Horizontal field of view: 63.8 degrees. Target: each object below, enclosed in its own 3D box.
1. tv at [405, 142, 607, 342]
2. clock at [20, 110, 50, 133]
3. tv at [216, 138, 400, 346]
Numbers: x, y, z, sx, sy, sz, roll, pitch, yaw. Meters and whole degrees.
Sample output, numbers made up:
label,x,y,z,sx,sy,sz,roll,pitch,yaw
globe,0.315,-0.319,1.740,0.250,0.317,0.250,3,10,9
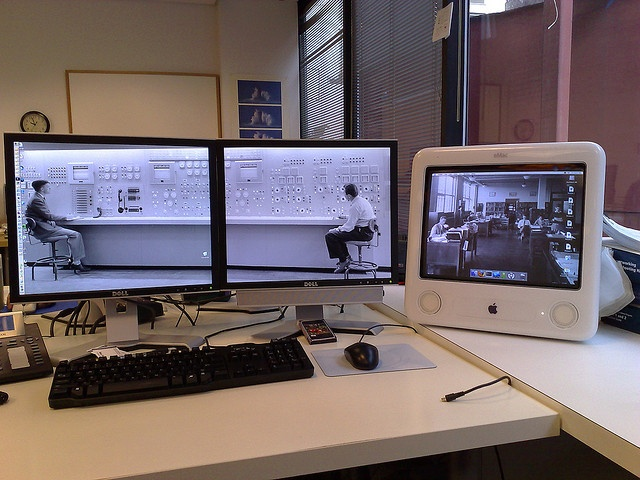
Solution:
label,x,y,z,sx,sy,sz,roll,pitch,yaw
tv,0.586,0.009,1.558,0.596,0.614,0.064,3,-1,15
clock,-2.512,-1.028,4.480,0.247,0.177,0.095,-7,13,-26
tv,-0.044,-0.011,1.667,0.654,0.698,0.187,-1,-3,-3
